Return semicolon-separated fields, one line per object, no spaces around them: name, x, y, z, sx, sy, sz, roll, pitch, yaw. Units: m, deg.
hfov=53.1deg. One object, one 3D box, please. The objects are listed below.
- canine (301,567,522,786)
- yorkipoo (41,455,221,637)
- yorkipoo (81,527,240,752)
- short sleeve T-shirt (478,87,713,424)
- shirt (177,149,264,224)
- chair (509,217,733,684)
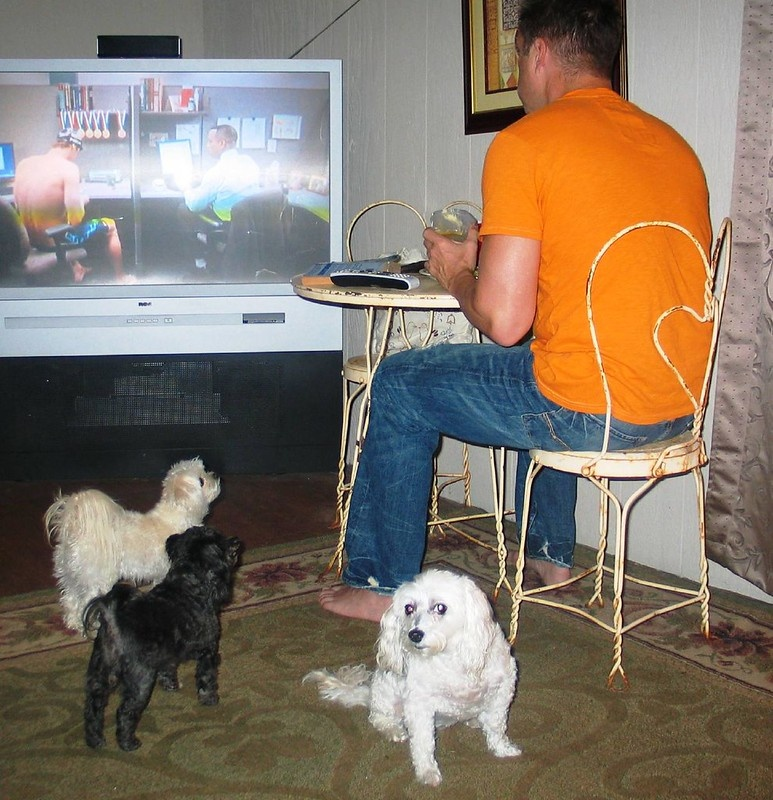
canine;0.053;0.451;1.477;0.329;0.291;0.395;-1;21;-3
yorkipoo;-0.674;0.381;2.023;0.181;0.386;0.526;20;8;30
yorkipoo;-0.463;0.475;1.593;0.201;0.359;0.328;4;12;23
short sleeve T-shirt;0.424;-0.278;1.533;0.473;0.664;0.205;0;11;5
shirt;-0.698;-0.824;3.123;0.167;0.202;0.285;-3;1;8
chair;0.584;0.140;1.742;0.400;0.766;0.353;-11;3;-5
